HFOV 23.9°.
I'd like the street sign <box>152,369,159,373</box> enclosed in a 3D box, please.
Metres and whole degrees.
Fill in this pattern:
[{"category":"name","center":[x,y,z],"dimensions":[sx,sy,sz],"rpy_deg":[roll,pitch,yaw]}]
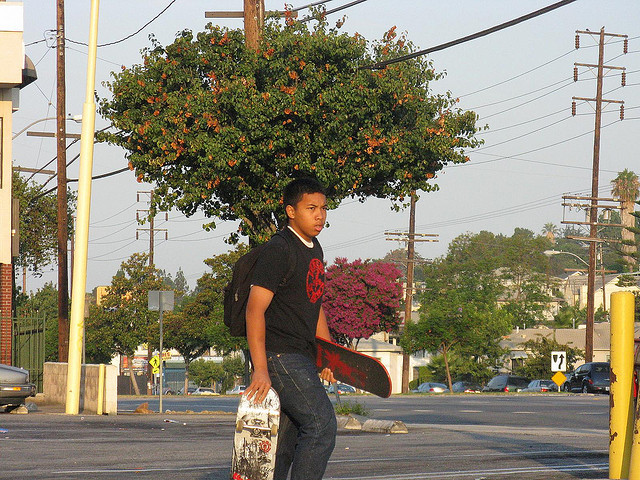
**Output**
[{"category":"street sign","center":[-6.419,5.079,58.974],"dimensions":[0.312,0.174,0.270],"rpy_deg":[0,-3,-34]}]

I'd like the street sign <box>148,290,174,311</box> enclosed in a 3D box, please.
[{"category":"street sign","center":[-5.397,2.029,51.300],"dimensions":[0.766,0.613,0.034],"rpy_deg":[0,-6,6]}]

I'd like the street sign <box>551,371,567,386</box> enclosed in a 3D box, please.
[{"category":"street sign","center":[10.089,5.835,64.408],"dimensions":[0.450,0.544,1.240],"rpy_deg":[-1,-8,10]}]

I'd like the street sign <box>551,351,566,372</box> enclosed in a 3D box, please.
[{"category":"street sign","center":[9.932,5.009,63.308],"dimensions":[0.582,0.820,1.734],"rpy_deg":[-1,-8,8]}]
